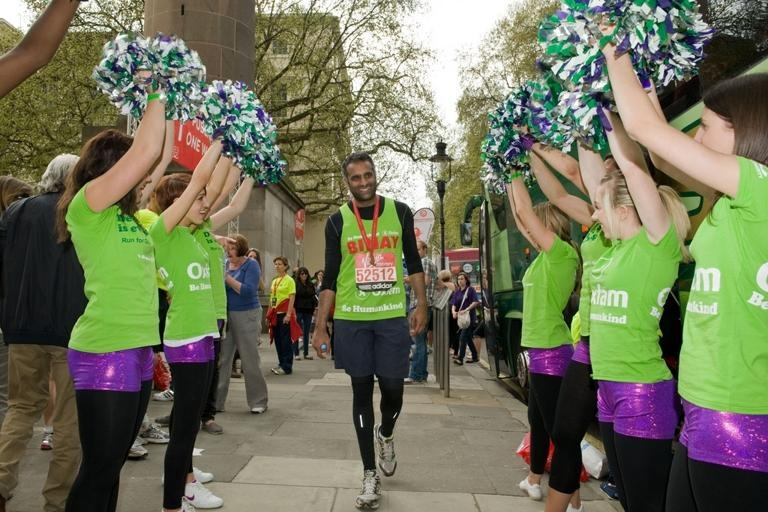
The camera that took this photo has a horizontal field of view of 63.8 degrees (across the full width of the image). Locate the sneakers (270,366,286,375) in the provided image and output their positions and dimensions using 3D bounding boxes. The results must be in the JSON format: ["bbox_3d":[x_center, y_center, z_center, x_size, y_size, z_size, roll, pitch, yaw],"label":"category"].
[{"bbox_3d":[-1.954,2.146,11.514,0.227,0.138,0.379,3,-8,-22],"label":"sneakers"}]

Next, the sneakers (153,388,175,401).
[{"bbox_3d":[-3.015,1.897,8.434,0.215,0.188,0.590,6,-10,-40],"label":"sneakers"}]

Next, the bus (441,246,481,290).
[{"bbox_3d":[3.921,0.479,29.077,2.185,2.023,1.682,-2,-1,4],"label":"bus"}]

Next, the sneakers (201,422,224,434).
[{"bbox_3d":[-1.886,1.891,6.812,0.258,0.107,0.102,1,1,31],"label":"sneakers"}]

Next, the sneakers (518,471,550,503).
[{"bbox_3d":[1.250,1.938,5.120,0.114,0.141,0.316,-1,-2,-5],"label":"sneakers"}]

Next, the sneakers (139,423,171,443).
[{"bbox_3d":[-2.375,1.850,6.391,0.274,0.188,0.280,3,-8,-23],"label":"sneakers"}]

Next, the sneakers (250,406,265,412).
[{"bbox_3d":[-1.588,1.965,7.861,0.180,0.087,0.165,1,-8,-13],"label":"sneakers"}]

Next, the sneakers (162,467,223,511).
[{"bbox_3d":[-1.461,1.858,4.881,0.476,0.220,0.167,9,-1,2],"label":"sneakers"}]

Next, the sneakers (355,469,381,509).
[{"bbox_3d":[-0.123,1.867,4.917,0.193,0.259,0.288,0,-7,0],"label":"sneakers"}]

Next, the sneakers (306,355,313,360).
[{"bbox_3d":[-1.779,2.433,14.718,0.101,0.086,0.320,-2,-10,-10],"label":"sneakers"}]
